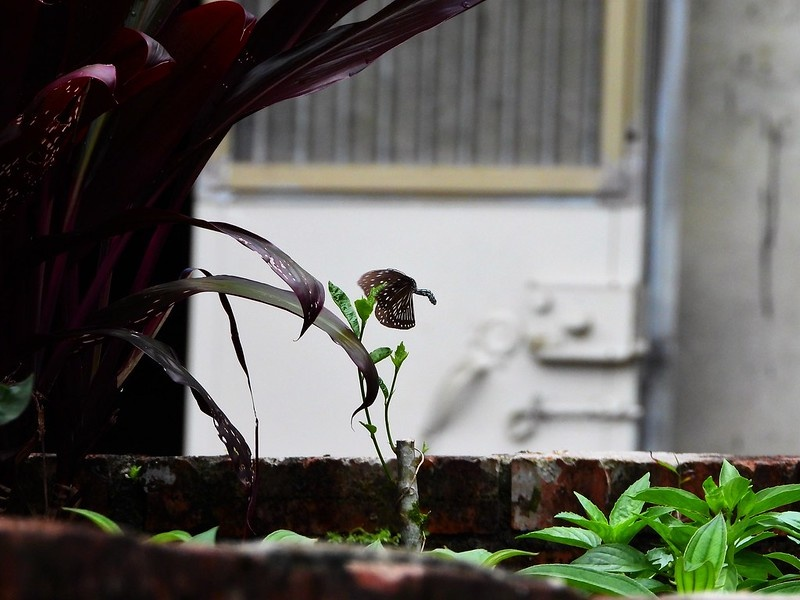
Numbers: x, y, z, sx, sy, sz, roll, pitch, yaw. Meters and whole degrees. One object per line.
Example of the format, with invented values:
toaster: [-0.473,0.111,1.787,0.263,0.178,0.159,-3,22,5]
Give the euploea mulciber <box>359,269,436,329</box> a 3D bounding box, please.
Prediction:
euploea mulciber: [-0.010,-0.002,2.242,0.101,0.086,0.086,4,-6,-24]

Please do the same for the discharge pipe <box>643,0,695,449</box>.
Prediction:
discharge pipe: [0.455,-0.127,2.558,0.065,0.760,0.121,1,-6,7]
